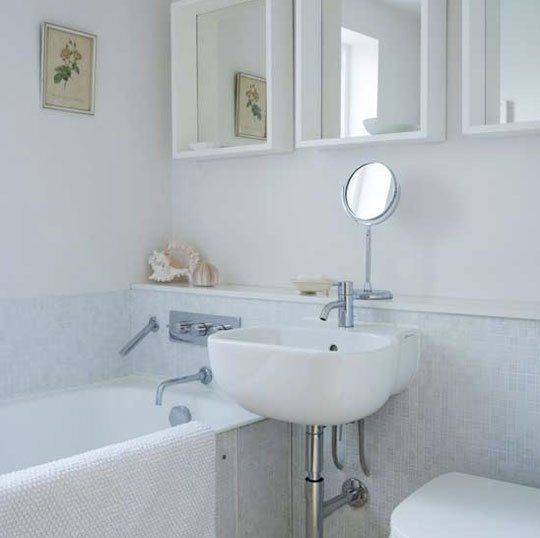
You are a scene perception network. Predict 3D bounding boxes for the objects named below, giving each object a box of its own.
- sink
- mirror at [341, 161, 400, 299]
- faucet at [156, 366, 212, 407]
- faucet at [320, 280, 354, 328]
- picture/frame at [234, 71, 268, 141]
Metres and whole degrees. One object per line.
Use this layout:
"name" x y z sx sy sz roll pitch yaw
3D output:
"sink" 0.091 0.263 1.426 0.460 0.199 0.373 5 7 37
"mirror" 0.323 -0.134 1.739 0.179 0.460 0.361 2 6 11
"faucet" -0.328 0.415 1.978 0.098 0.114 0.280 -2 5 32
"faucet" 0.202 0.115 1.548 0.064 0.143 0.278 2 6 16
"picture/frame" -0.084 -0.659 2.139 0.173 0.290 0.047 6 8 44
